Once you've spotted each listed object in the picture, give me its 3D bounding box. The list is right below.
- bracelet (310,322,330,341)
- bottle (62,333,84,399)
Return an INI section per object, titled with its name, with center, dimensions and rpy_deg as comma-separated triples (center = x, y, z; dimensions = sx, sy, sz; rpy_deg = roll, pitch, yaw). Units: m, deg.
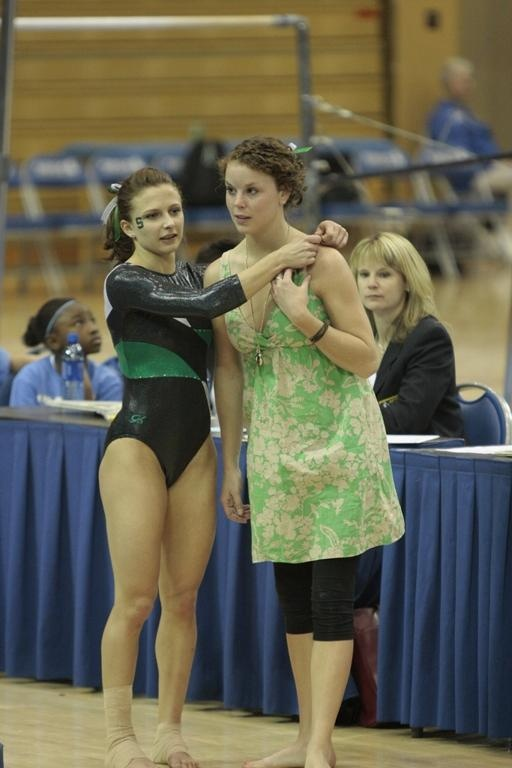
[bracelet]
center = 0.136, -0.111, 2.300
dimensions = 0.010, 0.038, 0.039
rpy_deg = 45, 0, -6
[bottle]
center = -0.769, -0.070, 4.382
dimensions = 0.096, 0.282, 0.378
rpy_deg = -3, 11, -10
